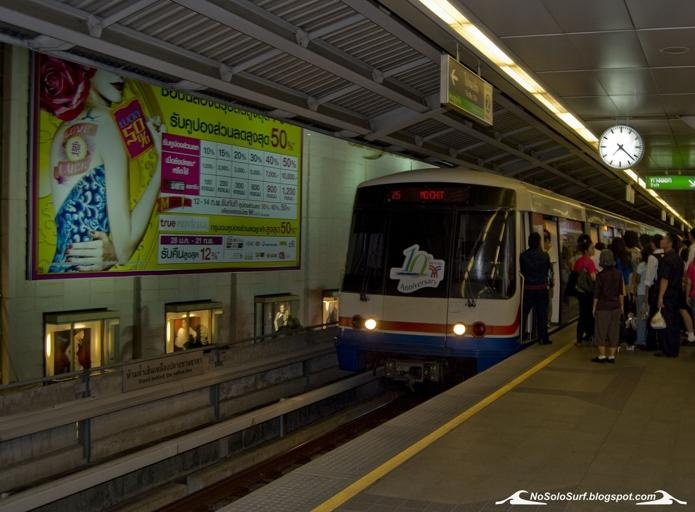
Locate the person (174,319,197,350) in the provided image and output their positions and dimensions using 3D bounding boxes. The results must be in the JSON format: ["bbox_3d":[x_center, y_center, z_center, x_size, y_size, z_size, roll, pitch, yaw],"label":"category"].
[{"bbox_3d":[-4.090,1.938,12.959,0.299,0.773,0.539,-4,-2,45],"label":"person"}]

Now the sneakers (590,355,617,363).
[{"bbox_3d":[4.216,1.683,8.483,0.357,0.135,0.134,4,7,29],"label":"sneakers"}]
